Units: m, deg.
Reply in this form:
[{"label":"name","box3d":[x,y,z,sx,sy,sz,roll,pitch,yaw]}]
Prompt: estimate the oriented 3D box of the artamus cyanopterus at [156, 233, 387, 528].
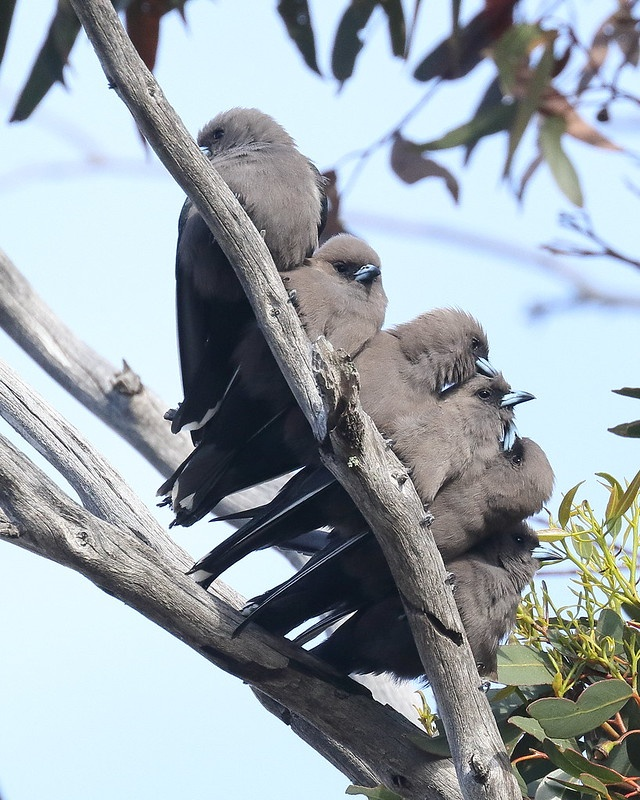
[{"label":"artamus cyanopterus","box3d":[-0.066,-0.031,2.301,0.211,0.494,0.169,44,2,39]}]
